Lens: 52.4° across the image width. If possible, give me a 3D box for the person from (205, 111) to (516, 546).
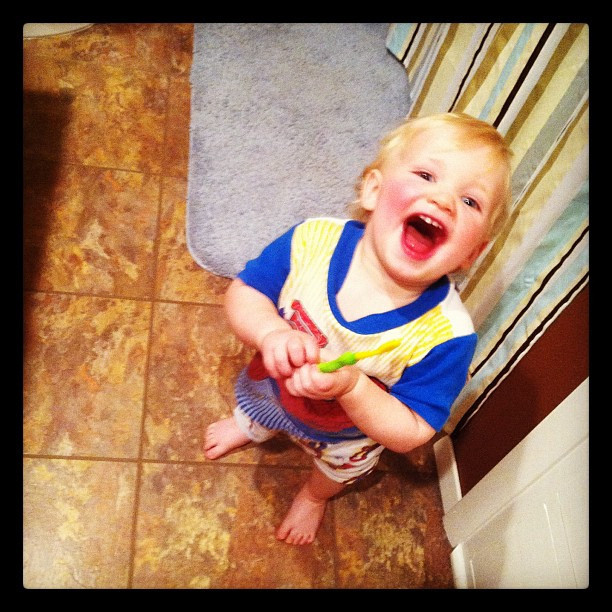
[{"bbox_3d":[0.045,0.094,0.978,0.338,0.777,0.350,-7,49,-35],"label":"person"}]
